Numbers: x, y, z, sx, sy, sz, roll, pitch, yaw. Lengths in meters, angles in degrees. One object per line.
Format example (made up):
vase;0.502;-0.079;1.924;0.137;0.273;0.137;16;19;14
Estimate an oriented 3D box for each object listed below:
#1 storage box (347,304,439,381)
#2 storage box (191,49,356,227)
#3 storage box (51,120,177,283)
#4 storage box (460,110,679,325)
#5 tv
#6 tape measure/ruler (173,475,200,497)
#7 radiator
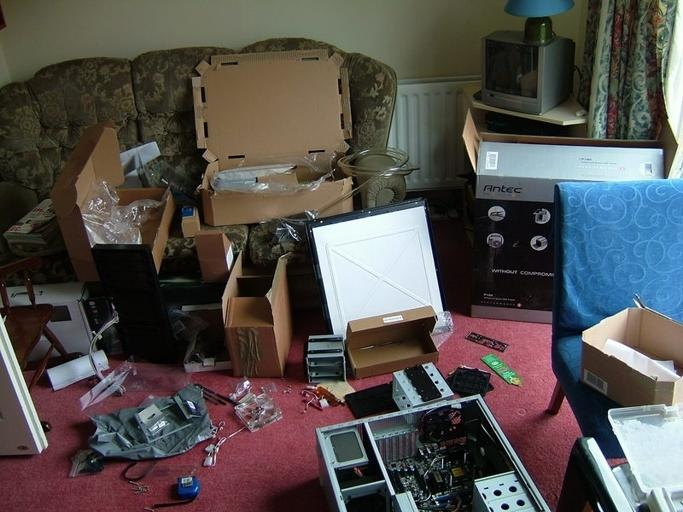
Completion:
storage box;0.269;0.446;2.764;0.482;0.302;0.182;-9;21;-7
storage box;-0.425;-0.760;3.250;0.912;0.923;0.364;-7;26;-3
storage box;-1.298;-0.292;2.944;0.417;0.572;0.819;-3;48;-6
storage box;1.126;-0.177;2.533;1.017;1.218;0.430;3;22;9
tv;0.995;-1.030;2.987;0.477;0.456;0.512;25;45;34
tape measure/ruler;-0.671;0.995;2.264;0.117;0.077;0.090;-5;22;1
radiator;0.638;-0.886;3.576;0.911;0.986;0.065;-2;29;1
